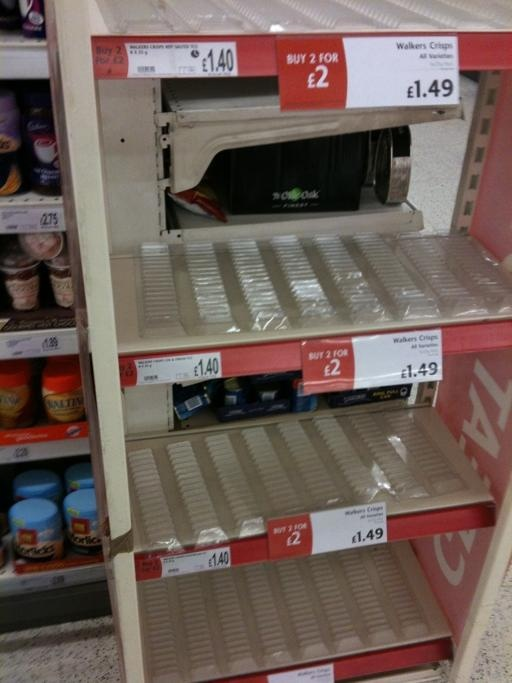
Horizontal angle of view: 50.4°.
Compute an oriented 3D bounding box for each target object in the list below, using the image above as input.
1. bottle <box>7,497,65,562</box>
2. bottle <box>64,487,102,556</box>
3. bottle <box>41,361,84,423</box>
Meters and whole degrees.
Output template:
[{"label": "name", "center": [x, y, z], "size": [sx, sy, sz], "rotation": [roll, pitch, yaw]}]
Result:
[{"label": "bottle", "center": [-0.621, 0.535, 1.548], "size": [0.145, 0.219, 0.142], "rotation": [3, 28, -2]}, {"label": "bottle", "center": [-0.503, 0.553, 1.618], "size": [0.112, 0.154, 0.106], "rotation": [-1, 7, 0]}, {"label": "bottle", "center": [-0.547, 0.157, 1.553], "size": [0.114, 0.175, 0.118], "rotation": [5, 27, -2]}]
